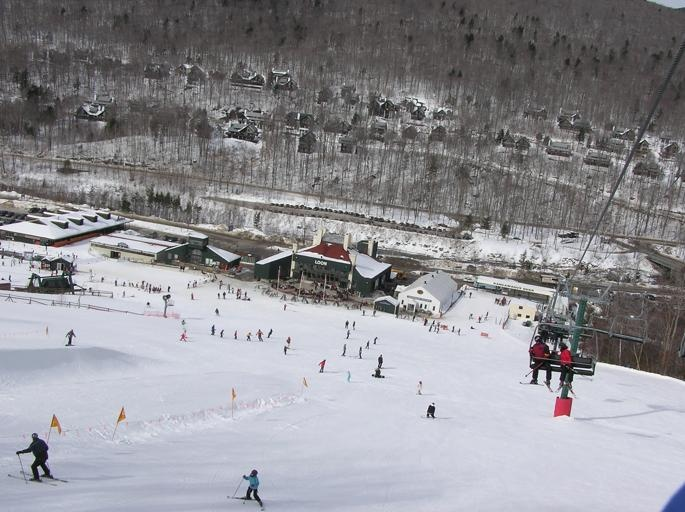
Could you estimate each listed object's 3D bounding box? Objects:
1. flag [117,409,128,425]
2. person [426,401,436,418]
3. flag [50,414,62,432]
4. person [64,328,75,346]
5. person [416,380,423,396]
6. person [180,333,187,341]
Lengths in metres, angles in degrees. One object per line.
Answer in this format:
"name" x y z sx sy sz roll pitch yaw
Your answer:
"flag" -19.731 14.278 99.934 0.801 1.630 1.546 6 8 -4
"person" 8.245 14.525 104.696 0.921 1.197 1.400 8 8 6
"flag" -25.240 14.760 98.596 1.121 1.492 1.004 10 9 21
"person" -25.796 7.640 106.099 0.829 1.365 2.300 5 9 -14
"person" 7.336 12.773 107.507 0.404 1.253 0.455 2 41 7
"person" -15.800 7.984 110.973 0.666 0.684 0.815 6 9 -11
